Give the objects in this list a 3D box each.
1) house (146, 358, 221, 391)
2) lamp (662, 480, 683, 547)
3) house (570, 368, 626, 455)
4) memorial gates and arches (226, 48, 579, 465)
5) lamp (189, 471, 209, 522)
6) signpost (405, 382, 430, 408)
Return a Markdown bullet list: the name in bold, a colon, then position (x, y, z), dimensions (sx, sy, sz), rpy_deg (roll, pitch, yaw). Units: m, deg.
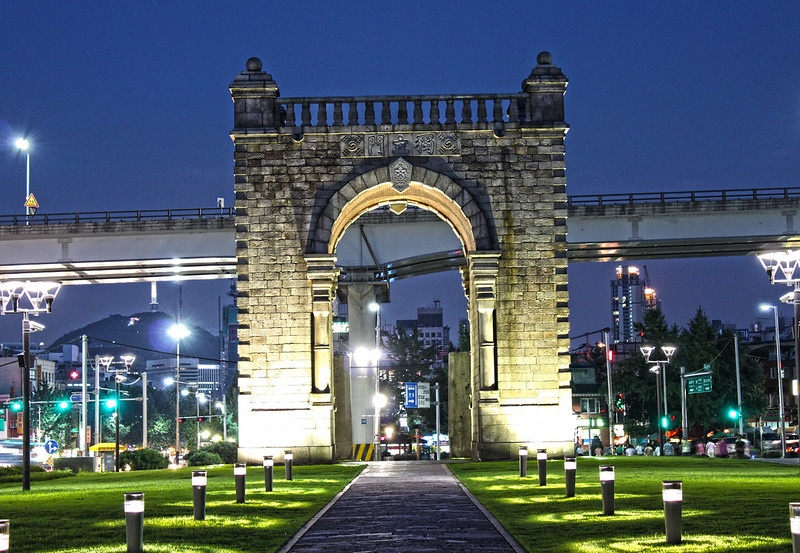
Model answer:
- **house**: position (-44.678, 20.012, 301.024), dimensions (15.716, 7.171, 19.864), rpy_deg (0, -9, -9)
- **lamp**: position (10.407, 8.989, 55.146), dimensions (0.718, 2.403, 1.052), rpy_deg (-5, -12, 9)
- **house**: position (19.237, 14.195, 151.826), dimensions (6.937, 9.358, 7.139), rpy_deg (-5, -5, 22)
- **memorial gates and arches**: position (0.033, -0.478, 77.830), dimensions (24.227, 28.644, 5.455), rpy_deg (-1, -5, -1)
- **lamp**: position (-8.067, 8.797, 58.396), dimensions (0.454, 2.089, 0.575), rpy_deg (0, -12, -14)
- **signpost**: position (1.272, 8.993, 110.484), dimensions (0.637, 1.791, 2.051), rpy_deg (-10, -10, 28)
